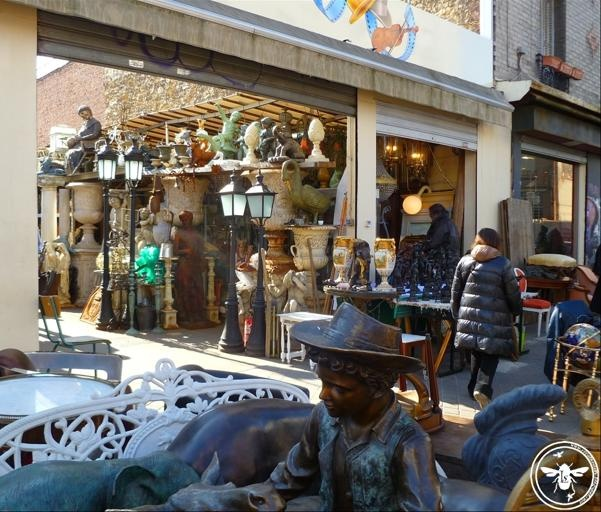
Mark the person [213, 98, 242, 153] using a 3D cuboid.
[{"bbox_3d":[-1.269,-2.191,10.971,0.393,0.931,0.420,1,1,-7],"label":"person"}]

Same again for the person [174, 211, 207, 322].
[{"bbox_3d":[-1.959,0.205,10.997,0.603,2.025,0.914,0,1,-9],"label":"person"}]

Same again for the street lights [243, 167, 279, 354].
[{"bbox_3d":[-0.565,0.124,8.390,0.365,2.468,0.981,1,0,-5],"label":"street lights"}]

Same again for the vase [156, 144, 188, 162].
[{"bbox_3d":[-2.314,-1.869,11.236,0.414,0.215,0.199,3,7,31],"label":"vase"}]

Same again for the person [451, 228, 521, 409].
[{"bbox_3d":[1.862,0.558,6.224,0.691,1.308,0.446,1,1,26],"label":"person"}]

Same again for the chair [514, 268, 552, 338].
[{"bbox_3d":[3.602,0.704,9.657,0.541,0.978,0.488,6,4,41],"label":"chair"}]

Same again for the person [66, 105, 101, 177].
[{"bbox_3d":[-4.504,-2.426,12.813,0.671,1.473,1.037,0,1,-20],"label":"person"}]
